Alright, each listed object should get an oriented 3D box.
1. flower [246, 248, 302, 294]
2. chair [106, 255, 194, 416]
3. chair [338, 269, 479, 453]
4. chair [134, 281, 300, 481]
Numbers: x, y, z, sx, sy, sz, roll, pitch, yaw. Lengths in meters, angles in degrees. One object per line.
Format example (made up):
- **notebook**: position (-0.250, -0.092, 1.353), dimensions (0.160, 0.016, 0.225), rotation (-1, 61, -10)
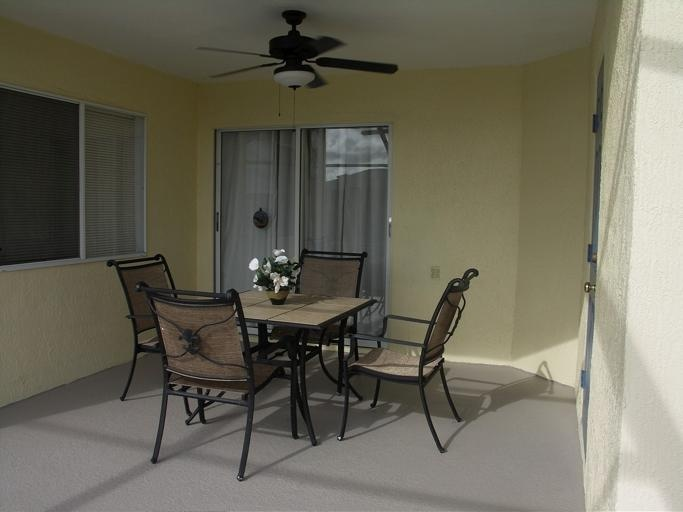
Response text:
- **flower**: position (-0.483, 0.151, 3.918), dimensions (0.388, 0.281, 0.379), rotation (-4, -16, -9)
- **chair**: position (-1.398, 0.603, 4.206), dimensions (0.846, 1.137, 0.859), rotation (-3, 1, 3)
- **chair**: position (0.489, 0.722, 3.614), dimensions (0.803, 1.240, 0.745), rotation (3, 6, 22)
- **chair**: position (-0.770, 0.721, 3.223), dimensions (0.747, 1.223, 0.911), rotation (2, 7, 9)
